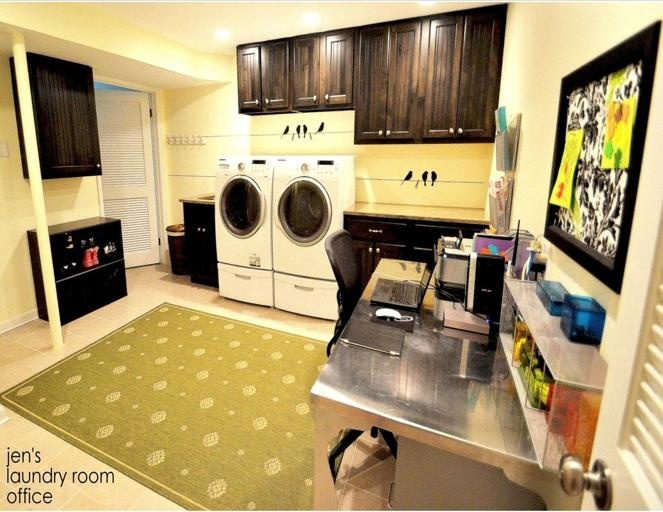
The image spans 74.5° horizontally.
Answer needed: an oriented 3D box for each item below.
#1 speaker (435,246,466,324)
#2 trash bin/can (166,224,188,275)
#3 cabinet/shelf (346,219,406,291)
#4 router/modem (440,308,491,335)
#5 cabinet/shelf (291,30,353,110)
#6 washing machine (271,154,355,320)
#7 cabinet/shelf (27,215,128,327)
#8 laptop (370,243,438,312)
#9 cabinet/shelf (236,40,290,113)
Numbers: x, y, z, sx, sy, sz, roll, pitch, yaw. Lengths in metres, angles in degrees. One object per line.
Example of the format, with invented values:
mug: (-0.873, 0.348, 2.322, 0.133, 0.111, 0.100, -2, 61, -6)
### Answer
speaker: (0.603, 0.158, 2.185, 0.141, 0.212, 0.288, 2, 19, 9)
trash bin/can: (-1.844, -0.028, 5.051, 0.302, 0.487, 0.310, -4, -5, -36)
cabinet/shelf: (0.399, -0.049, 3.934, 0.475, 0.698, 0.393, 9, 24, 7)
router/modem: (0.604, 0.298, 1.960, 0.121, 0.029, 0.116, 10, 23, 22)
cabinet/shelf: (-0.033, -1.627, 3.973, 0.639, 0.632, 0.485, 4, 7, 28)
washing machine: (-0.165, -0.202, 4.075, 0.671, 1.445, 0.860, 7, 14, 20)
cabinet/shelf: (-2.300, 0.092, 3.970, 0.273, 0.814, 0.690, 10, 20, 23)
laptop: (0.369, 0.066, 2.299, 0.299, 0.297, 0.453, 3, 13, 9)
cabinet/shelf: (-0.596, -1.678, 4.152, 0.610, 0.616, 0.269, 7, 14, 26)
